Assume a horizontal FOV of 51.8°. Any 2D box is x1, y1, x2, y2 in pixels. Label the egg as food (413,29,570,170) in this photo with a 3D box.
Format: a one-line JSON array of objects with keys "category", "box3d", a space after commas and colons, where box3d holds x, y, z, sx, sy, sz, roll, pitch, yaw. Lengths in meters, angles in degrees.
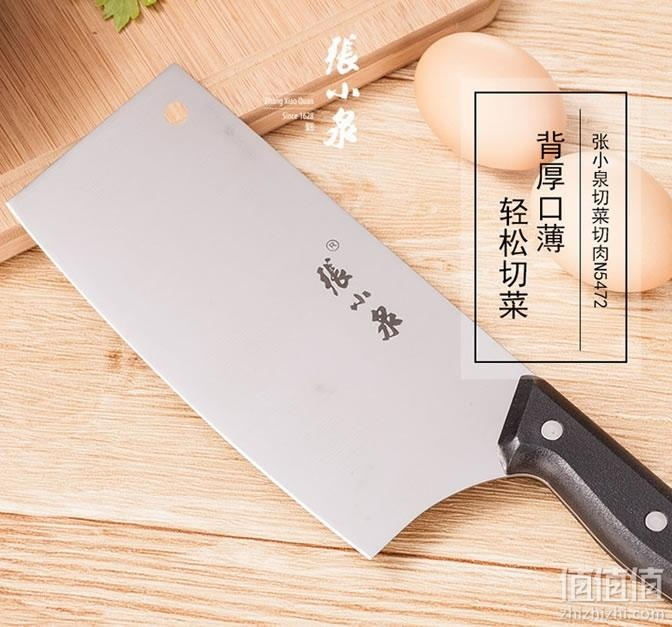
[{"category": "egg as food", "box3d": [0.176, -0.231, 0.814, 0.183, 0.110, 0.129, 42, 106, 15]}]
